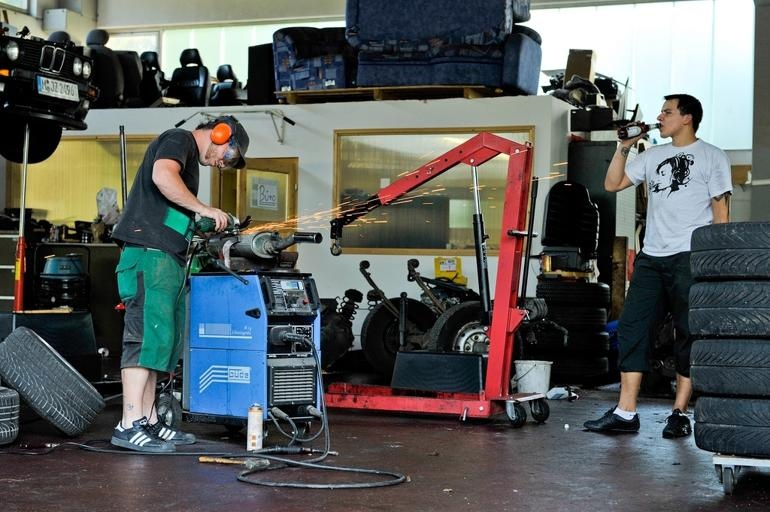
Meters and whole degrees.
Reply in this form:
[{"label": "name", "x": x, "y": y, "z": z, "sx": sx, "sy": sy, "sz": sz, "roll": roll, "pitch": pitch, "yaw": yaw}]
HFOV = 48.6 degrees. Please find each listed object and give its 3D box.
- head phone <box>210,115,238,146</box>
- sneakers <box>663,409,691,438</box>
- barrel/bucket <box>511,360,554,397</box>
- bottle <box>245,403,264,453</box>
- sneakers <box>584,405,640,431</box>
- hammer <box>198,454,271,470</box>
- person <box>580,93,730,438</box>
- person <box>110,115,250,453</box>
[{"label": "head phone", "x": -1.147, "y": -0.907, "z": 6.065, "sx": 0.157, "sy": 0.180, "sz": 0.203, "roll": 6, "pitch": -37, "yaw": -4}, {"label": "sneakers", "x": 2.239, "y": 1.292, "z": 6.559, "sx": 0.124, "sy": 0.140, "sz": 0.336, "roll": -1, "pitch": -1, "yaw": 26}, {"label": "barrel/bucket", "x": 1.387, "y": 1.116, "z": 7.953, "sx": 0.344, "sy": 0.246, "sz": 0.344, "roll": -1, "pitch": 0, "yaw": 0}, {"label": "bottle", "x": -0.883, "y": 1.152, "z": 5.830, "sx": 0.114, "sy": 0.300, "sz": 0.192, "roll": 0, "pitch": 5, "yaw": -9}, {"label": "sneakers", "x": 1.781, "y": 1.277, "z": 6.769, "sx": 0.511, "sy": 0.206, "sz": 0.169, "roll": 2, "pitch": -6, "yaw": 6}, {"label": "hammer", "x": -0.981, "y": 1.314, "z": 5.524, "sx": 0.470, "sy": 0.054, "sz": 0.143, "roll": 3, "pitch": 5, "yaw": 19}, {"label": "person", "x": 2.149, "y": 0.052, "z": 6.627, "sx": 0.935, "sy": 2.646, "sz": 0.567, "roll": 3, "pitch": 5, "yaw": 21}, {"label": "person", "x": -1.477, "y": 0.153, "z": 5.947, "sx": 0.842, "sy": 2.304, "sz": 0.597, "roll": 0, "pitch": 5, "yaw": -17}]
